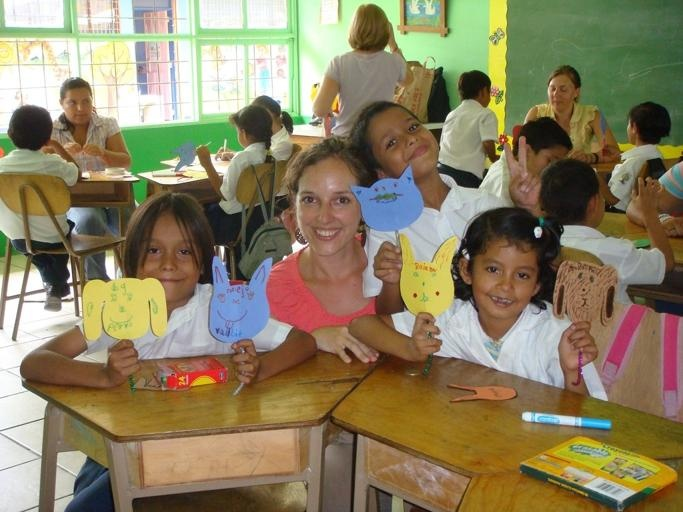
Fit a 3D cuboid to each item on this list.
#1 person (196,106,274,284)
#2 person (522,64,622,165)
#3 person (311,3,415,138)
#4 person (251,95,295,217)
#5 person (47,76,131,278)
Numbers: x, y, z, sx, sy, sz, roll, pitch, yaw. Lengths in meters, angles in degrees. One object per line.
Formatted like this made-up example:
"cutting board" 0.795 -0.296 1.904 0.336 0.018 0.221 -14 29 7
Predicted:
"person" -0.694 -0.332 3.904 0.444 1.170 0.476 14 28 27
"person" 1.677 -1.006 4.277 0.635 0.968 0.622 15 27 31
"person" 0.130 -1.155 3.669 0.459 1.045 0.578 -19 30 -37
"person" -0.435 -0.831 4.202 0.347 0.997 0.406 12 30 12
"person" -1.883 -0.594 4.402 0.482 1.331 0.661 -12 22 -29
